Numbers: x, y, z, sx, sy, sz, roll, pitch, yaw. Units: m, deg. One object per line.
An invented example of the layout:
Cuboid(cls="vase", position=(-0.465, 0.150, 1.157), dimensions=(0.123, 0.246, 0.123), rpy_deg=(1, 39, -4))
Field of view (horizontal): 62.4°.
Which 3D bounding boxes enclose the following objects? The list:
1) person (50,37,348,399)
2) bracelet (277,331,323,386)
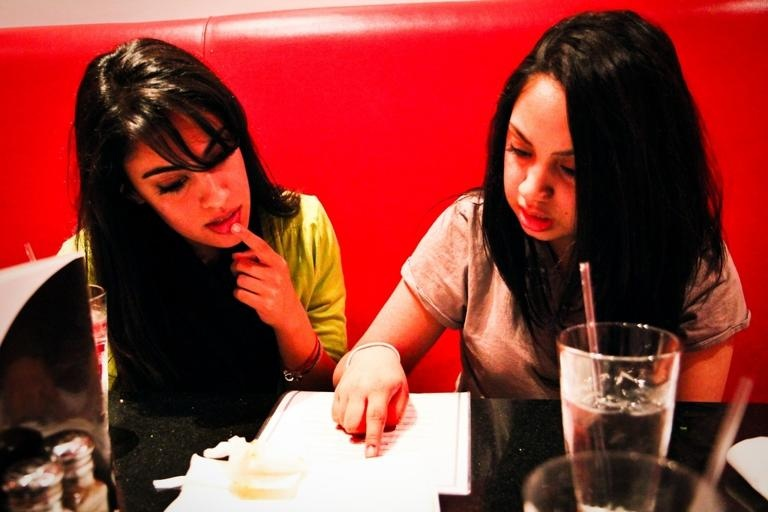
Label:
Cuboid(cls="person", position=(-0.429, -0.078, 1.685), dimensions=(0.687, 0.899, 0.404), rpy_deg=(-3, 5, -27))
Cuboid(cls="bracelet", position=(-0.220, 0.269, 1.637), dimensions=(0.097, 0.112, 0.048), rpy_deg=(5, -26, 17))
